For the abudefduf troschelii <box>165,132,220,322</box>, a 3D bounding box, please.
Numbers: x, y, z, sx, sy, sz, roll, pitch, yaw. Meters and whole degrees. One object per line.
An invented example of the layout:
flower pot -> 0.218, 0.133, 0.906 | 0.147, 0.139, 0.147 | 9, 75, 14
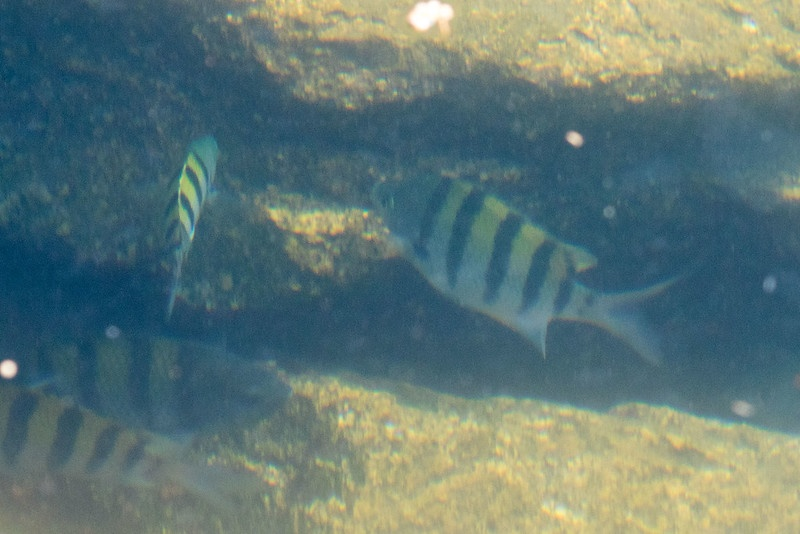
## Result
abudefduf troschelii -> -0.412, -0.062, 2.297 | 0.049, 0.137, 0.336 | 9, 68, -1
